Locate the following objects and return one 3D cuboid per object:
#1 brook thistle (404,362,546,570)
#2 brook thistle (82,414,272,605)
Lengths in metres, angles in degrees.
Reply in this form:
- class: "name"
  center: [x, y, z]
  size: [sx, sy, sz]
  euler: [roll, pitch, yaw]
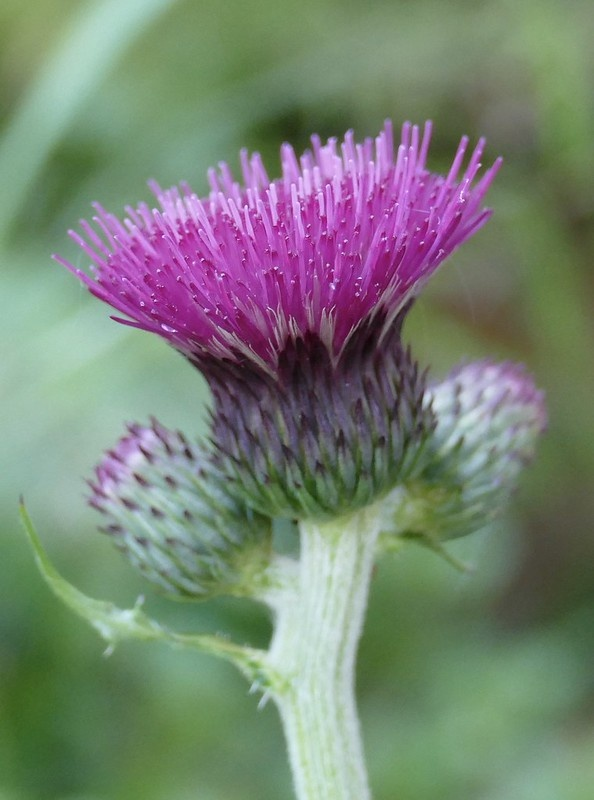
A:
- class: "brook thistle"
  center: [0.393, 0.135, 2.020]
  size: [0.316, 0.265, 0.468]
  euler: [20, 71, 1]
- class: "brook thistle"
  center: [-0.214, 0.219, 1.967]
  size: [0.419, 0.366, 0.240]
  euler: [50, 24, 16]
